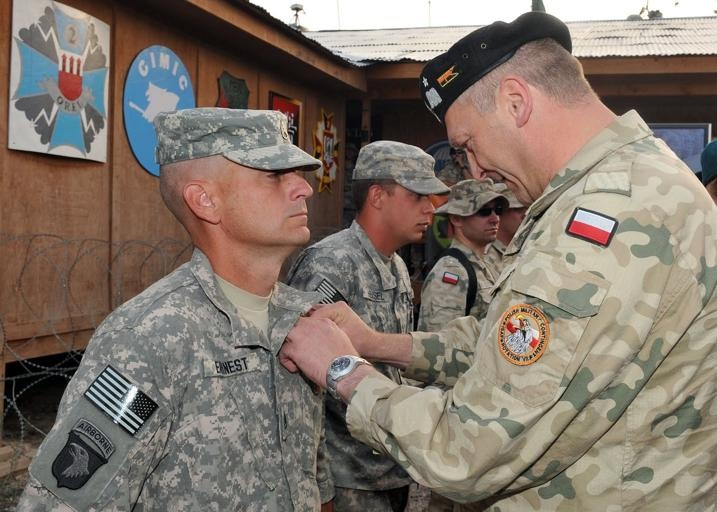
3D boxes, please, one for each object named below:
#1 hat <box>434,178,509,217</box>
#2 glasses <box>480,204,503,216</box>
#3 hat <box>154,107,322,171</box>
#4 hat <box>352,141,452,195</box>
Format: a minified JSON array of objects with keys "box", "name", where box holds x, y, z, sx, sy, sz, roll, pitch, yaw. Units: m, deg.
[{"box":[0.828,-0.447,5.580,0.358,0.150,0.360,-18,7,27],"name":"hat"},{"box":[0.989,-0.357,5.606,0.114,0.039,0.122,5,-22,-23],"name":"glasses"},{"box":[-0.537,-0.501,3.159,0.493,0.212,0.360,6,6,-1],"name":"hat"},{"box":[0.267,-0.565,4.646,0.463,0.271,0.364,7,6,10],"name":"hat"}]
